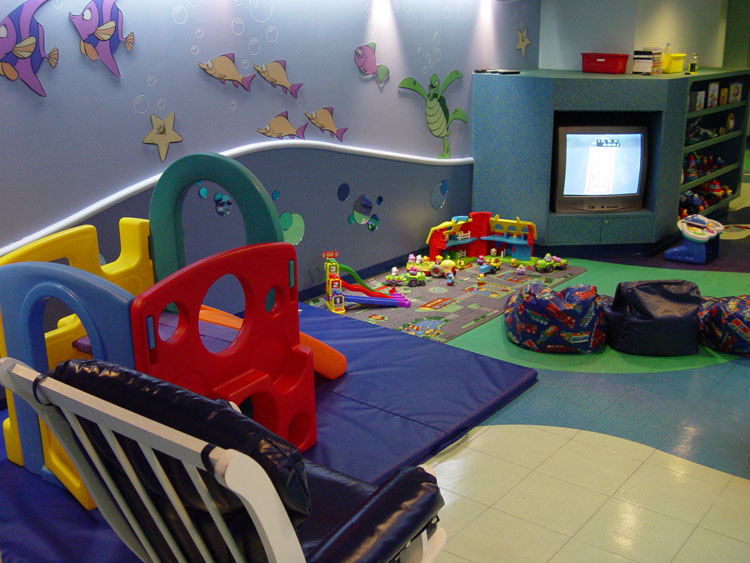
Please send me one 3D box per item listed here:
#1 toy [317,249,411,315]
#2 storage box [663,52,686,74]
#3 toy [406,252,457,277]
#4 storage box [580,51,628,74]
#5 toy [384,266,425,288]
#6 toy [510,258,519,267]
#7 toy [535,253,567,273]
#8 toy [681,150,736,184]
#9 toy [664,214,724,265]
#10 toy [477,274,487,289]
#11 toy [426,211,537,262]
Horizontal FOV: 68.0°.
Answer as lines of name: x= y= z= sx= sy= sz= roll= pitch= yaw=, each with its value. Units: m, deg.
toy: x=-0.077 y=-0.027 z=4.400 sx=0.662 sy=0.466 sz=0.707 roll=-5 pitch=17 yaw=-5
storage box: x=3.142 y=-2.270 z=5.783 sx=0.465 sy=0.212 sz=0.160 roll=-19 pitch=23 yaw=-41
toy: x=0.512 y=-0.140 z=5.056 sx=0.353 sy=0.175 sz=0.242 roll=5 pitch=12 yaw=16
storage box: x=2.270 y=-2.147 z=5.493 sx=0.379 sy=0.175 sz=0.273 roll=10 pitch=20 yaw=35
toy: x=0.267 y=-0.028 z=4.865 sx=0.256 sy=0.083 sz=0.190 roll=3 pitch=18 yaw=13
toy: x=1.333 y=-0.178 z=5.310 sx=0.073 sy=0.075 sz=0.078 roll=4 pitch=14 yaw=13
toy: x=1.633 y=-0.159 z=5.188 sx=0.292 sy=0.165 sz=0.165 roll=-11 pitch=22 yaw=-24
toy: x=3.880 y=-1.364 z=6.463 sx=0.378 sy=0.294 sz=1.299 roll=10 pitch=21 yaw=36
toy: x=3.062 y=-0.403 z=5.326 sx=0.565 sy=0.387 sz=0.369 roll=-19 pitch=24 yaw=-41
toy: x=0.927 y=0.003 z=4.820 sx=0.109 sy=0.116 sz=0.113 roll=0 pitch=13 yaw=1
toy: x=1.017 y=-0.408 z=5.316 sx=0.754 sy=0.437 sz=0.593 roll=18 pitch=34 yaw=31
